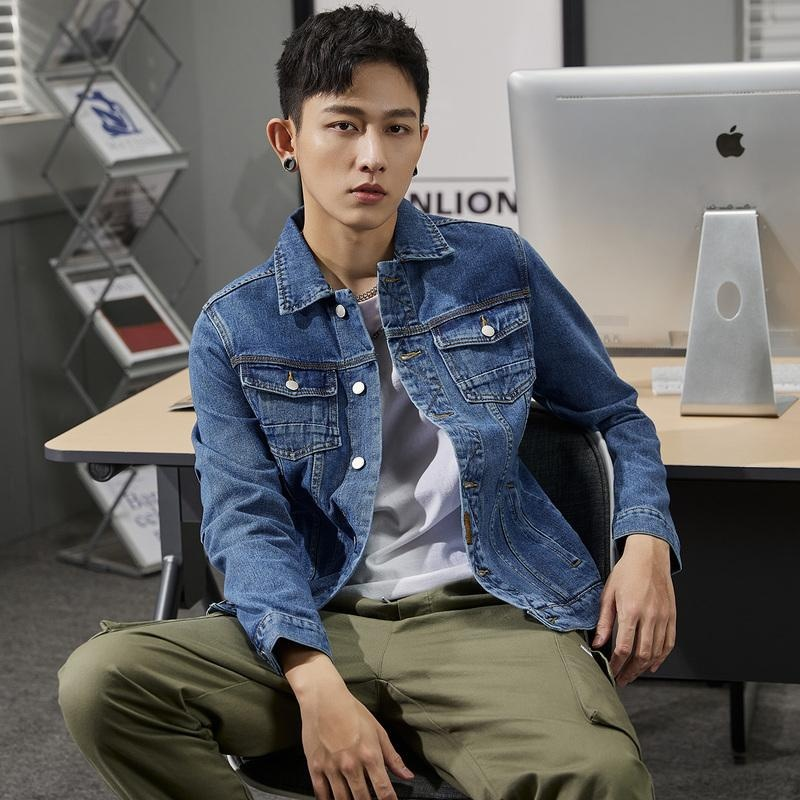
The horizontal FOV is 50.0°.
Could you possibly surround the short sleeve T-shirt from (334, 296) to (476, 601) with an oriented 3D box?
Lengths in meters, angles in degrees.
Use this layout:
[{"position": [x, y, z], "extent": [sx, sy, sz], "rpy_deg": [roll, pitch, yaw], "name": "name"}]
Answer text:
[{"position": [0.000, 0.080, 1.132], "extent": [0.173, 0.292, 0.076], "rpy_deg": [-7, -22, 23], "name": "short sleeve T-shirt"}]
